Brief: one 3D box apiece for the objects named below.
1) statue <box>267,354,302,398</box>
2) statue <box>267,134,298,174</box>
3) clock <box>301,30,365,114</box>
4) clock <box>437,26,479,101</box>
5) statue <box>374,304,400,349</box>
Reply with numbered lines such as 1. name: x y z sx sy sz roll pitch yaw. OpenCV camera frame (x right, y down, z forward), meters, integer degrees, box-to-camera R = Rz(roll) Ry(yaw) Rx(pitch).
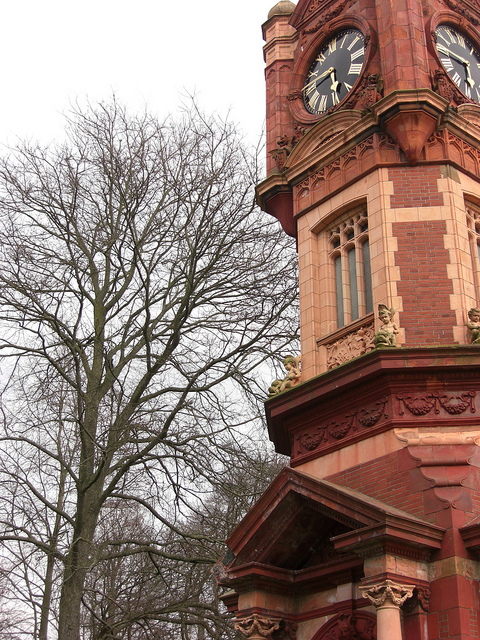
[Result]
1. statue: 0.855 1.086 24.728 0.553 0.922 0.549 3 -24 -13
2. statue: 0.954 -3.531 27.628 0.240 0.918 0.702 29 -42 -29
3. clock: 2.029 -5.207 27.369 0.101 1.808 1.799 16 -30 -28
4. clock: 4.409 -5.200 26.503 0.096 1.633 1.648 -34 -65 33
5. statue: 2.575 0.160 22.788 0.413 0.876 0.500 8 -24 -18
